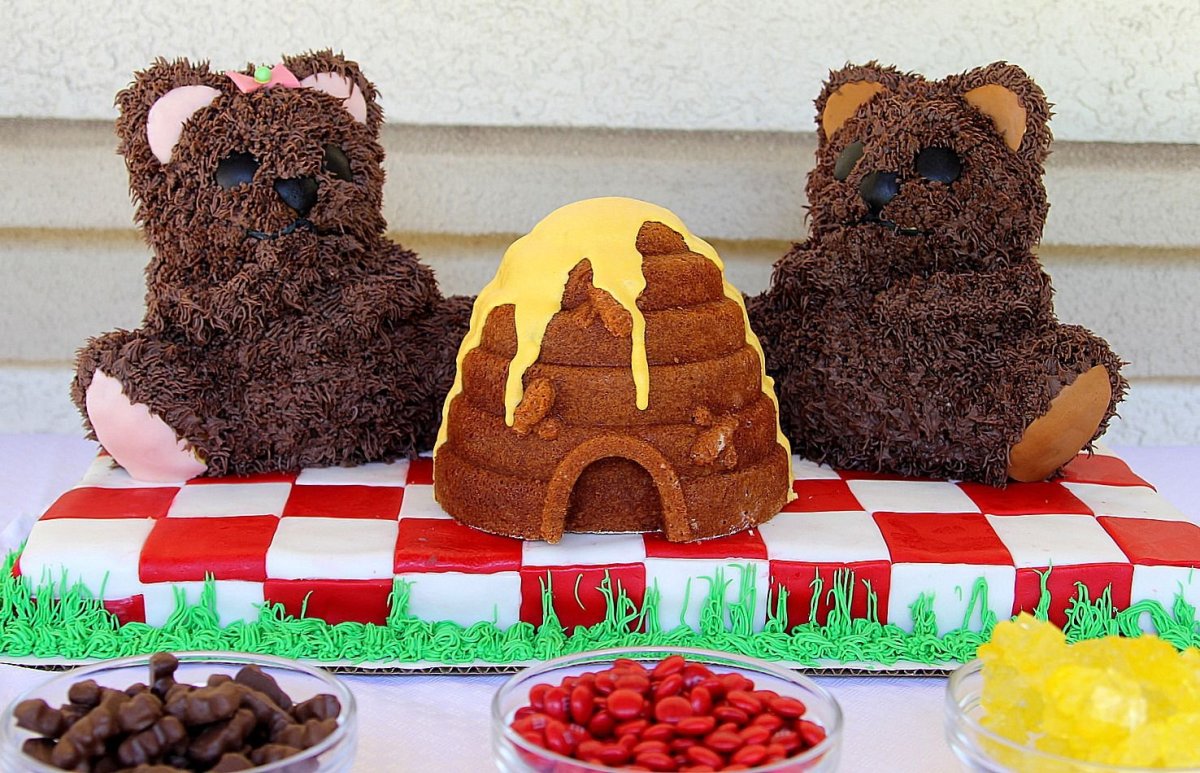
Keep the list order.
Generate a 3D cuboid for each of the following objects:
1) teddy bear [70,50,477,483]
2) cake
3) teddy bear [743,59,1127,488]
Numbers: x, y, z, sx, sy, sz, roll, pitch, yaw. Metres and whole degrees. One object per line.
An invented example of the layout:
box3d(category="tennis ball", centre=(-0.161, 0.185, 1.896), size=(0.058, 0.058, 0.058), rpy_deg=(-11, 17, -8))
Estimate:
box3d(category="teddy bear", centre=(-0.720, -0.262, 2.503), size=(1.214, 0.889, 0.578), rpy_deg=(-8, 23, -23))
box3d(category="cake", centre=(0.034, -0.064, 2.416), size=(0.849, 0.487, 0.691), rpy_deg=(0, 17, -2))
box3d(category="teddy bear", centre=(0.709, -0.281, 2.606), size=(1.074, 0.842, 0.634), rpy_deg=(11, 35, 34))
